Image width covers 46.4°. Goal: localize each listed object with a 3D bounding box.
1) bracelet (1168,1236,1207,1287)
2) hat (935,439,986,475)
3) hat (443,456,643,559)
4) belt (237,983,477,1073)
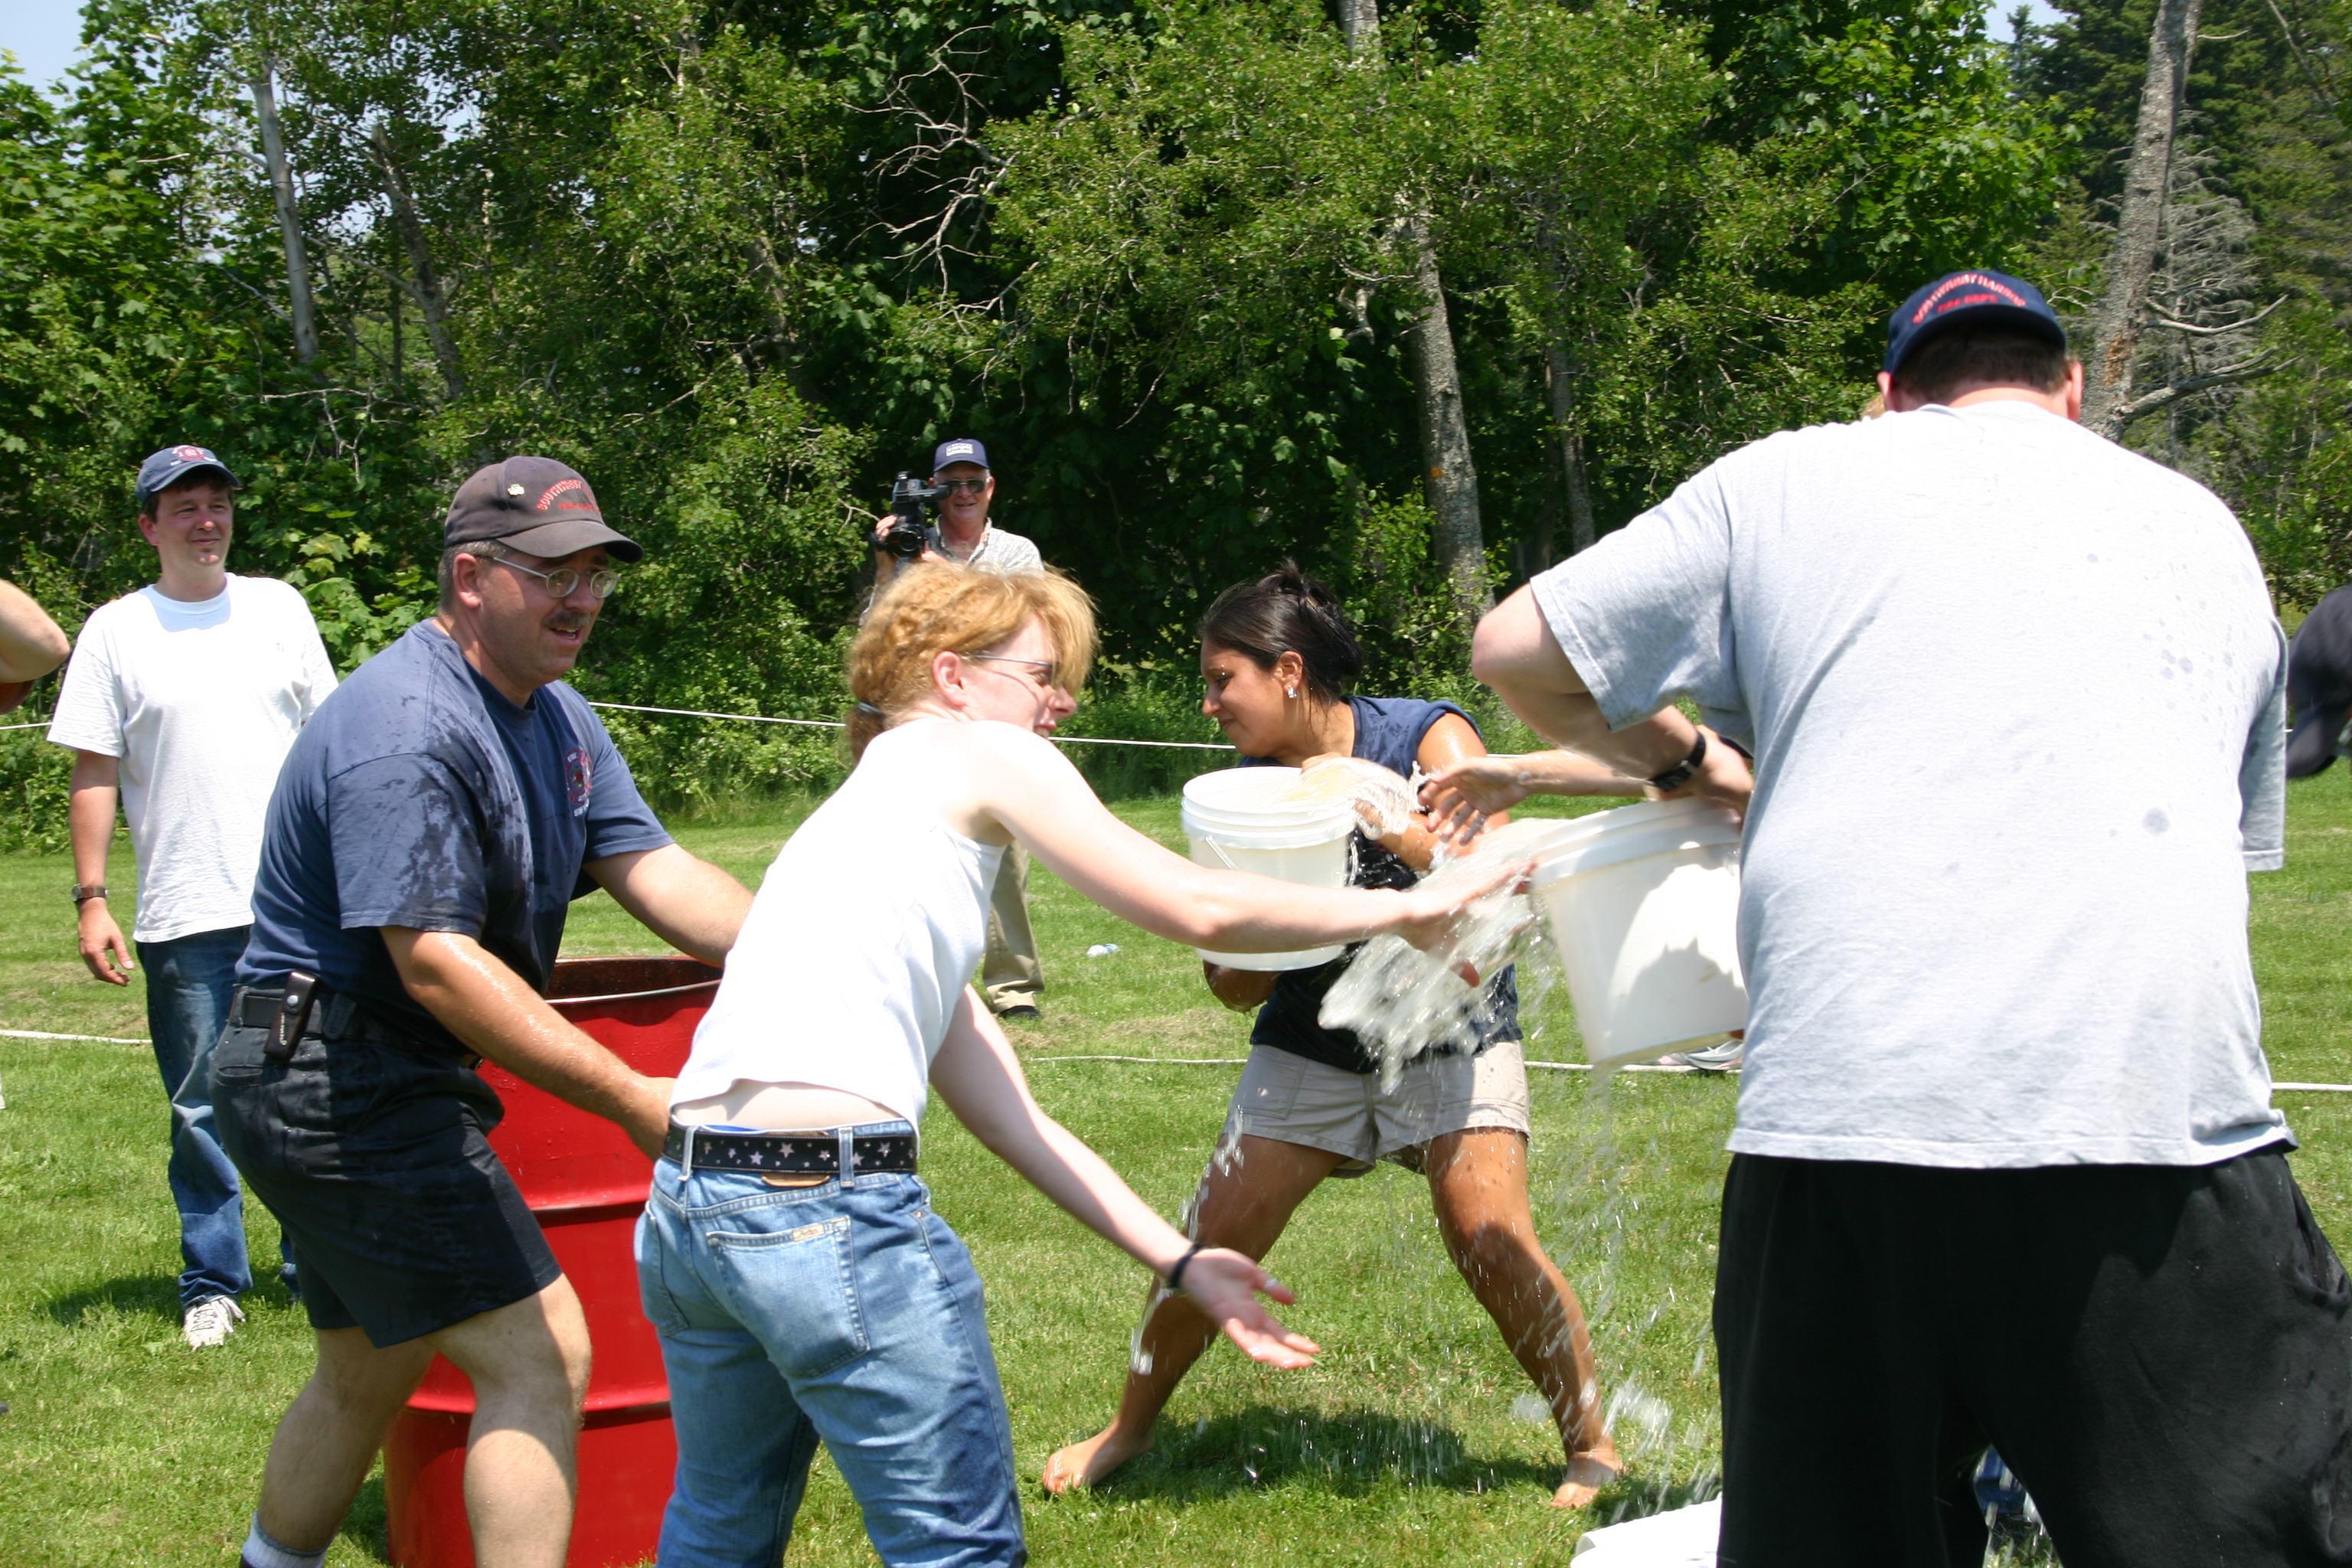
[{"bbox_3d":[0.013,1.174,6.735,0.029,0.093,0.100,35,-22,-12],"label":"bracelet"},{"bbox_3d":[-0.967,-1.489,12.392,0.199,0.171,0.338,-1,1,-9],"label":"hat"},{"bbox_3d":[-1.678,-0.719,7.303,0.429,0.207,0.295,-2,3,13],"label":"hat"},{"bbox_3d":[-2.177,0.586,7.181,0.360,0.100,0.302,12,-3,41],"label":"belt"}]
